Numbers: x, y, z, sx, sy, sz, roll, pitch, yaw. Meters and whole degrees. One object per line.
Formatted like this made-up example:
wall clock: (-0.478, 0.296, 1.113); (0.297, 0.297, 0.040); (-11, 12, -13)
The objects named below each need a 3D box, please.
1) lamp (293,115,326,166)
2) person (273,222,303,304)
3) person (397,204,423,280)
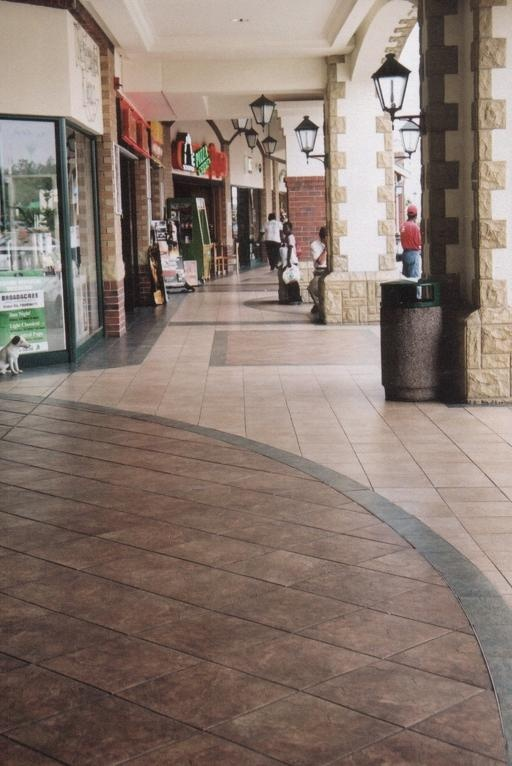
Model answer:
lamp: (1.089, -5.017, 13.059); (0.570, 0.916, 2.138); (0, 7, 6)
person: (0.729, -2.584, 13.599); (0.497, 1.780, 1.309); (-1, 7, 3)
person: (3.145, -2.890, 12.971); (0.383, 1.581, 1.539); (0, 7, 12)
